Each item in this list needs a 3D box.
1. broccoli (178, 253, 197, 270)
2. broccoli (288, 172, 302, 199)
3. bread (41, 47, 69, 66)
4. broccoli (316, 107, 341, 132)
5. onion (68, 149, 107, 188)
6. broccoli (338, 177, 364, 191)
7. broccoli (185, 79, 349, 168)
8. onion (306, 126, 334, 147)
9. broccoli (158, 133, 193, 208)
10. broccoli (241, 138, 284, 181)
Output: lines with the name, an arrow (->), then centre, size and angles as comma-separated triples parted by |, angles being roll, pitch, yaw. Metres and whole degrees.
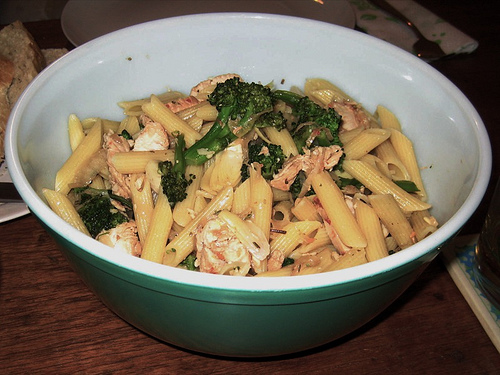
broccoli -> -0.201, 0.238, 1.434 | 0.047, 0.013, 0.046 | -16, 67, -9
broccoli -> 0.153, -0.004, 1.531 | 0.046, 0.049, 0.093 | -10, 56, 31
bread -> -0.995, -0.674, 2.274 | 0.113, 0.029, 0.112 | 0, 75, -2
broccoli -> 0.287, -0.239, 1.615 | 0.083, 0.030, 0.074 | -7, 86, -2
onion -> -0.571, -0.065, 1.595 | 0.065, 0.051, 0.200 | 41, 58, -6
broccoli -> 0.361, -0.014, 1.616 | 0.055, 0.015, 0.054 | -31, 81, -23
broccoli -> 0.049, -0.207, 1.693 | 0.510, 0.200, 0.338 | -22, 74, -22
onion -> 0.256, -0.182, 1.600 | 0.078, 0.030, 0.058 | -39, 104, 14
broccoli -> -0.247, -0.047, 1.508 | 0.116, 0.128, 0.280 | 29, 33, -31
broccoli -> 0.053, -0.091, 1.558 | 0.140, 0.065, 0.138 | -31, 76, -5
